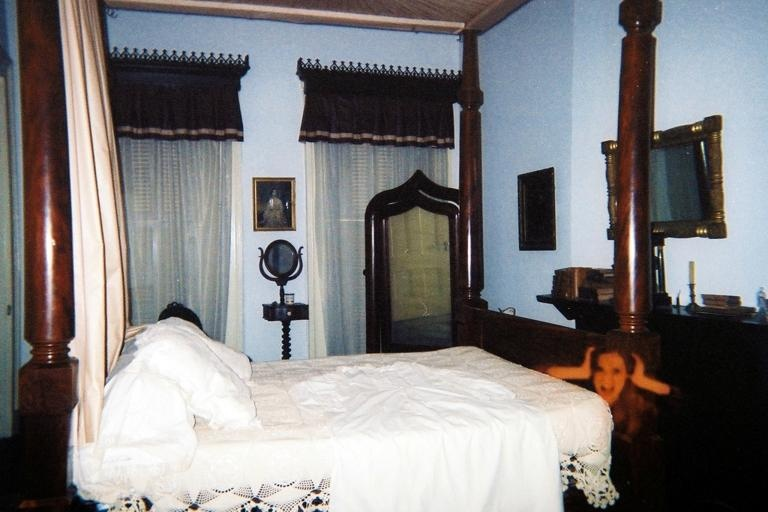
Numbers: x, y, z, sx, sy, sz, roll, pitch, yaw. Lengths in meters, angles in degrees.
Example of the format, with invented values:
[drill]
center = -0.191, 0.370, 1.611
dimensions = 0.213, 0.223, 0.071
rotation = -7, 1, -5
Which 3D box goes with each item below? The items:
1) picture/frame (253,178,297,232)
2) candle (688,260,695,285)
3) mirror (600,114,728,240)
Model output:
[picture/frame]
center = -1.149, -0.536, 6.453
dimensions = 0.517, 0.667, 0.047
rotation = -1, -1, -16
[candle]
center = 2.156, 0.124, 4.409
dimensions = 0.052, 0.164, 0.147
rotation = 4, 13, 26
[mirror]
center = 1.963, -0.543, 4.312
dimensions = 0.101, 0.940, 0.896
rotation = -5, -1, -34
